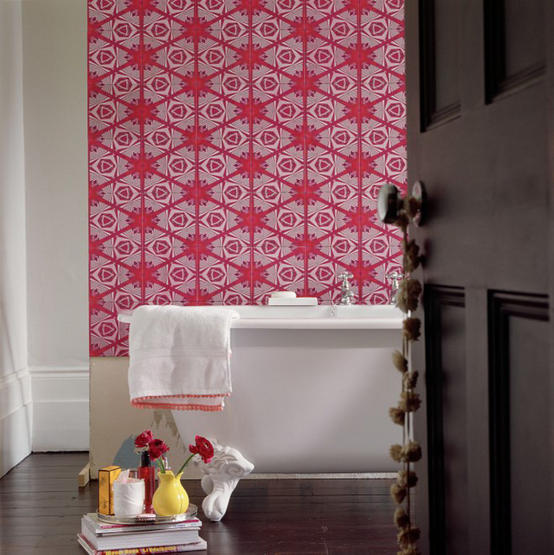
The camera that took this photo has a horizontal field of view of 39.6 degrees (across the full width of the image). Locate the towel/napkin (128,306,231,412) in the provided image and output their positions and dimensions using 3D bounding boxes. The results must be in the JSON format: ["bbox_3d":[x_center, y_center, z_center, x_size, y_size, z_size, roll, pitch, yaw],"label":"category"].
[{"bbox_3d":[-0.298,0.248,2.360,0.301,0.292,0.085,0,-12,3],"label":"towel/napkin"}]

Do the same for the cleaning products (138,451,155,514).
[{"bbox_3d":[-0.371,0.587,2.196,0.041,0.172,0.043,-3,-12,-22],"label":"cleaning products"}]

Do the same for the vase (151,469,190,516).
[{"bbox_3d":[-0.292,0.611,2.191,0.124,0.129,0.091,-1,1,-28],"label":"vase"}]
